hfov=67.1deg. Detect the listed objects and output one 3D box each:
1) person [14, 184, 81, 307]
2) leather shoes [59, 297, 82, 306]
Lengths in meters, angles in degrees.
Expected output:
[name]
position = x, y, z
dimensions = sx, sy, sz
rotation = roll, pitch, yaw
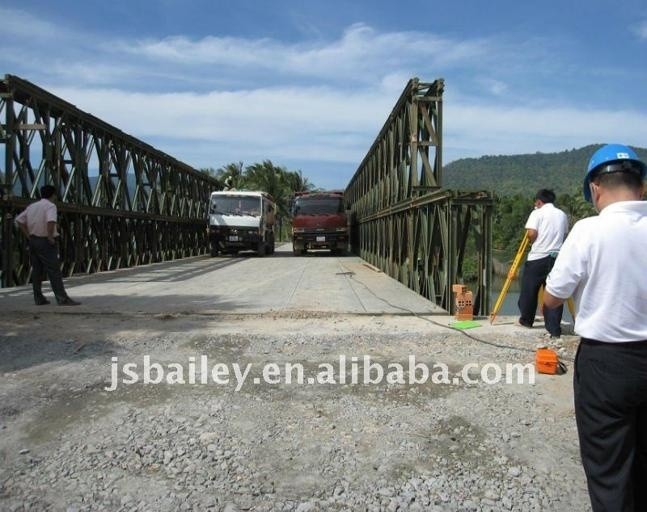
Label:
[person]
position = -4.789, -0.193, 8.394
dimensions = 1.021, 2.075, 0.702
rotation = 7, 9, 45
[leather shoes]
position = -4.376, 0.766, 8.401
dimensions = 0.341, 0.165, 0.133
rotation = 1, 0, -12
